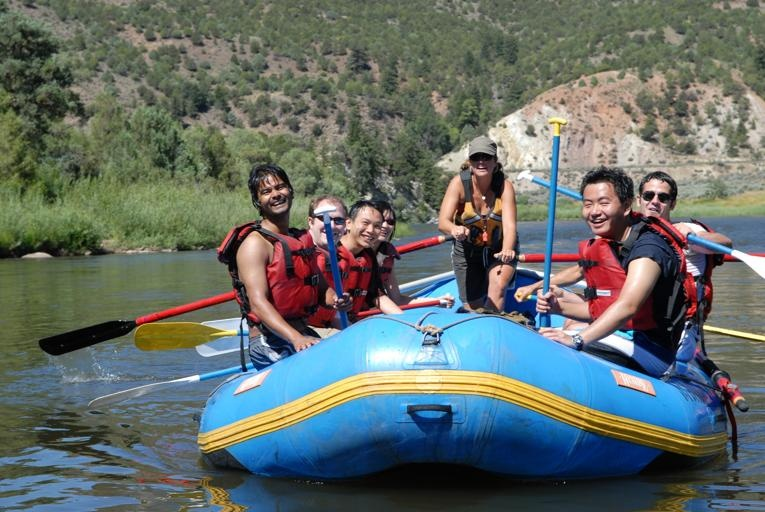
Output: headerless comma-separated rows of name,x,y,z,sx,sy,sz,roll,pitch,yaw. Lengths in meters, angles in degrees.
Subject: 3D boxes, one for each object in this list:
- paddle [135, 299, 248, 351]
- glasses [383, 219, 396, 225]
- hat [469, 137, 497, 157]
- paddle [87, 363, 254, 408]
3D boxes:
paddle,-2.027,0.875,11.151,1.923,0.488,0.258,-2,12,-3
glasses,0.081,-0.369,11.174,0.076,0.075,0.023,17,20,-39
hat,1.124,-1.215,10.811,0.314,0.227,0.616,1,12,5
paddle,-2.460,1.501,11.074,1.944,0.197,0.131,-15,-7,10
